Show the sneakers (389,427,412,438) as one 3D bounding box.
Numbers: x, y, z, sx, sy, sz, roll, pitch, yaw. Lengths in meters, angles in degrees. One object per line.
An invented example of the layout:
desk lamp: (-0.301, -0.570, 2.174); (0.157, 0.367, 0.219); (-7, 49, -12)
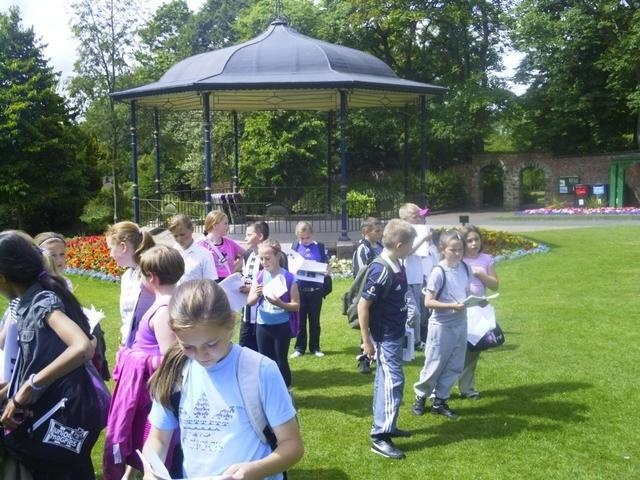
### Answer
sneakers: (1.125, 2.726, 11.695); (0.338, 0.181, 0.142); (-4, 16, 1)

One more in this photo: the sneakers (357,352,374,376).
sneakers: (0.721, 2.014, 13.409); (0.185, 0.271, 0.569); (0, -11, 1)

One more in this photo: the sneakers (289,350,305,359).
sneakers: (-0.423, 1.969, 14.237); (0.092, 0.130, 0.273); (-6, -11, 30)

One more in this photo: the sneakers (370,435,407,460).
sneakers: (0.935, 2.817, 11.382); (0.490, 0.256, 0.206); (3, 9, 40)

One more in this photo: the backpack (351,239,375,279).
backpack: (0.771, 0.227, 13.660); (0.243, 0.516, 0.498); (1, 19, 28)

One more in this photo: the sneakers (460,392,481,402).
sneakers: (2.269, 2.369, 12.570); (0.200, 0.091, 0.132); (-10, -6, 29)

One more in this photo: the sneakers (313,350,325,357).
sneakers: (-0.024, 1.954, 14.215); (0.074, 0.107, 0.212); (-2, -3, -30)
